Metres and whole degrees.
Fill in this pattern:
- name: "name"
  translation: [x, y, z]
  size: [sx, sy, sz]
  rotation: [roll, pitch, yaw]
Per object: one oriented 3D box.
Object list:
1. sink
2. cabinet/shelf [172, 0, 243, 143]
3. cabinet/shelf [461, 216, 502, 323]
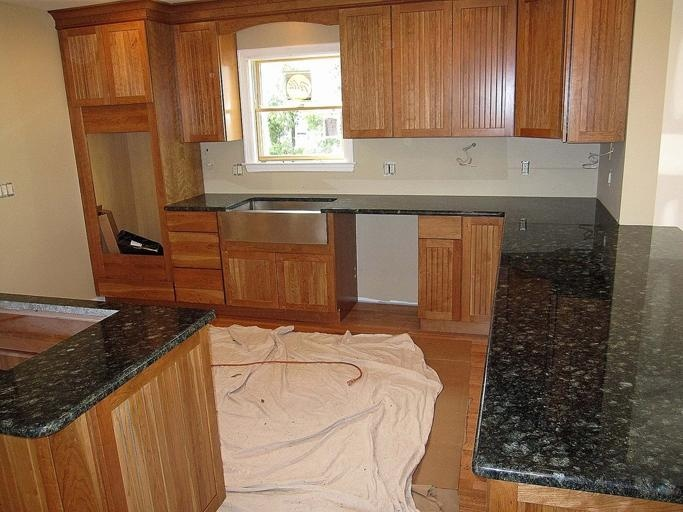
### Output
- name: "sink"
  translation: [-0.490, -0.313, 4.734]
  size: [0.998, 0.322, 0.596]
  rotation: [2, 14, 18]
- name: "cabinet/shelf"
  translation: [-1.197, -1.538, 4.740]
  size: [0.565, 1.005, 0.274]
  rotation: [-4, 16, -7]
- name: "cabinet/shelf"
  translation: [1.077, 0.113, 4.104]
  size: [0.291, 0.850, 0.106]
  rotation: [0, 17, 9]
